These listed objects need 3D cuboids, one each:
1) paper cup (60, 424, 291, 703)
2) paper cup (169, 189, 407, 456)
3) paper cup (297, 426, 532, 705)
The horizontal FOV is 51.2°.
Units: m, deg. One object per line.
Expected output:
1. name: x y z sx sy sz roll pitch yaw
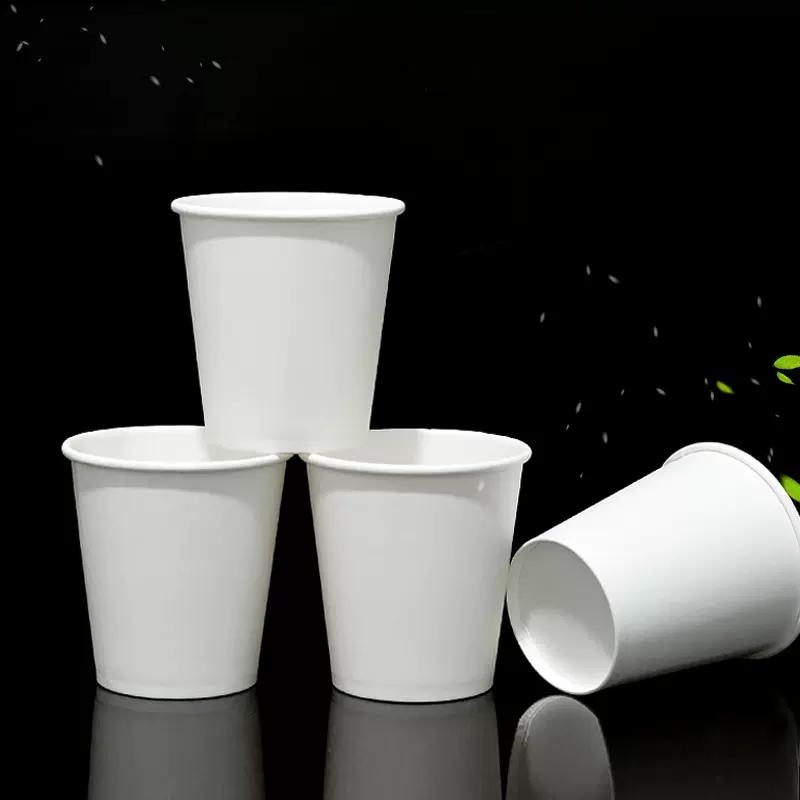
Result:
1. paper cup: -0.367 0.231 1.459 0.332 0.454 0.399 1 1 -6
2. paper cup: -0.191 -0.107 1.320 0.331 0.389 0.382 -1 7 -11
3. paper cup: 0.020 0.243 1.389 0.333 0.386 0.410 1 0 -8
